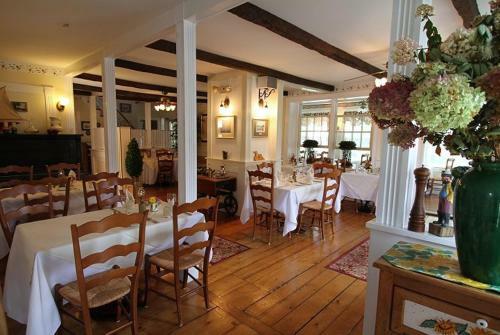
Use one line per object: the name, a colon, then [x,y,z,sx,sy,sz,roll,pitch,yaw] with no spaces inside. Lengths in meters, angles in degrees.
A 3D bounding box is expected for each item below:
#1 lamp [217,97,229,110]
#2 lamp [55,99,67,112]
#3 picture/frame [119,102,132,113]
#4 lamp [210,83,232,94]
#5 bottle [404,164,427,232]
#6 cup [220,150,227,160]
lamp: [-0.581,-1.381,6.947,0.324,0.326,0.197,9,14,38]
lamp: [-4.215,-1.402,7.093,0.092,0.269,0.207,2,7,28]
picture/frame: [-5.631,-2.729,14.323,0.111,0.435,0.619,4,7,35]
lamp: [-0.647,-1.740,6.937,0.451,0.192,0.206,1,11,18]
bottle: [1.439,0.259,2.769,0.147,0.552,0.212,2,7,27]
cup: [-0.575,-0.292,6.916,0.171,0.205,0.154,0,0,-39]
